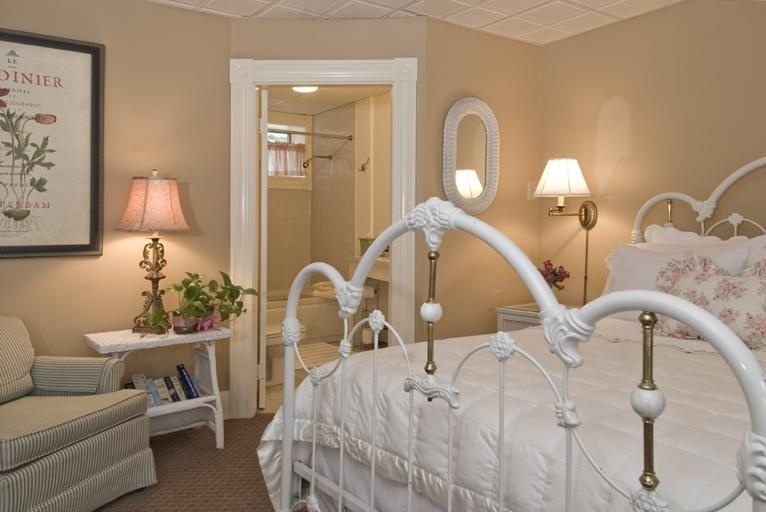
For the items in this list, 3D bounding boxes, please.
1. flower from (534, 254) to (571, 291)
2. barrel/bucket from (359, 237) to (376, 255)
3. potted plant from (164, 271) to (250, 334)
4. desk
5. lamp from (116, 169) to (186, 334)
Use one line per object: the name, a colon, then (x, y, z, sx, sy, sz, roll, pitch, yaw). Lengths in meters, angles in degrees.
flower: (1.208, 0.115, 3.675, 0.273, 0.285, 0.272, 4, -6, -35)
barrel/bucket: (-0.183, -0.113, 5.406, 0.199, 0.179, 0.204, 1, 2, 0)
potted plant: (-1.179, 0.319, 3.590, 0.482, 0.261, 0.434, 3, -2, 40)
desk: (-1.556, 0.799, 3.641, 1.068, 1.066, 0.721, -1, 1, -31)
lamp: (-1.531, -0.048, 3.555, 0.438, 1.072, 0.510, -4, 7, -23)
